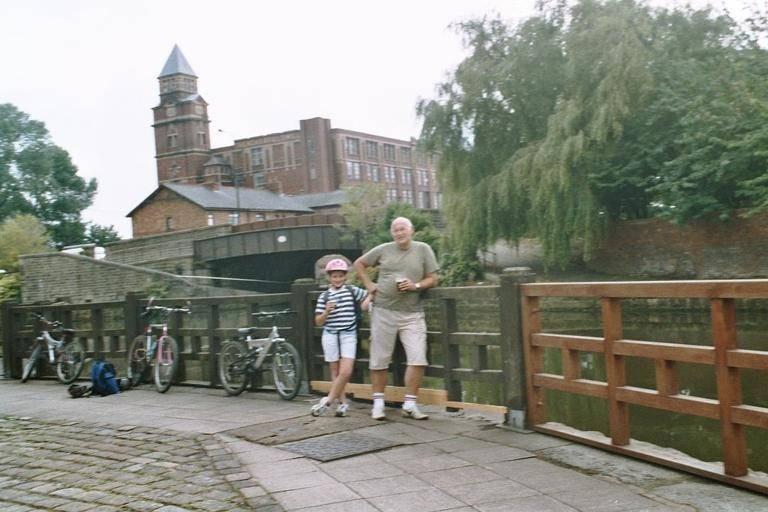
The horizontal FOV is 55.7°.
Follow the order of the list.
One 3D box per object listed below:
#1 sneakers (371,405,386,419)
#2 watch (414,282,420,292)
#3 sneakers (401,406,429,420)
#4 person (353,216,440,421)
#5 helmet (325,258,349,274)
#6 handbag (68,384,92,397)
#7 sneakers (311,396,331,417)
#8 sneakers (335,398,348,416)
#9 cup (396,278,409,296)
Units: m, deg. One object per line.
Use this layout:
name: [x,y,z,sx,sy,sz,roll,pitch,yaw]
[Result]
sneakers: [-0.089,2.211,10.251,0.203,0.159,0.235,-3,6,-3]
watch: [0.470,0.433,10.234,0.083,0.082,0.104,5,17,7]
sneakers: [0.418,2.219,10.201,0.398,0.114,0.143,-2,-4,28]
person: [0.206,0.881,10.413,1.114,2.848,0.850,-2,8,15]
helmet: [-0.712,0.120,10.912,0.377,0.150,0.424,1,-8,-8]
handbag: [-5.459,2.406,13.024,0.277,0.117,0.319,4,-1,15]
sneakers: [-0.943,2.169,10.547,0.284,0.259,0.275,-4,6,-6]
sneakers: [-0.623,2.213,10.603,0.240,0.193,0.546,4,-8,-2]
cup: [0.264,0.430,10.225,0.154,0.230,0.119,-4,7,-2]
